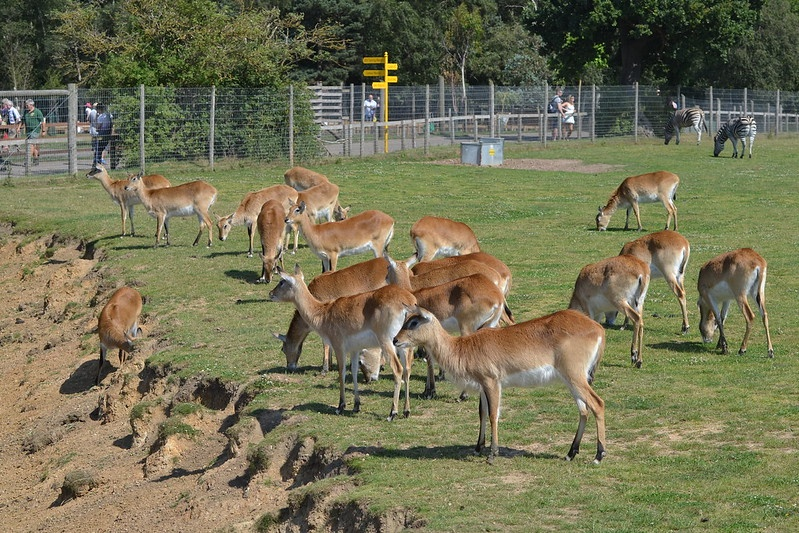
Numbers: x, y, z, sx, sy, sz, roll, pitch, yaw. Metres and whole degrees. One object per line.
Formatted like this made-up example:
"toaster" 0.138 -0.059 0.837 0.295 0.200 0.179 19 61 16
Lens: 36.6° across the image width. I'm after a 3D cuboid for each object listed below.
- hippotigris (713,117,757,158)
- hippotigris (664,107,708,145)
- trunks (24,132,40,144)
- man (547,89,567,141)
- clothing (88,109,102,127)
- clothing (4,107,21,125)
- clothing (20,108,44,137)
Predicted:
"hippotigris" 16.212 -6.218 58.609 0.931 2.013 3.399 0 1 -14
"hippotigris" 15.188 -7.378 64.354 0.887 1.878 3.281 -5 4 -31
"trunks" -13.653 -4.739 44.748 0.414 0.486 0.442 3 9 12
"man" 7.999 -7.760 62.259 0.991 3.277 1.191 -4 29 2
"clothing" -11.511 -5.587 45.404 0.480 0.921 0.250 2 20 46
"clothing" -14.727 -5.665 45.948 0.351 0.956 0.578 -10 14 -29
"clothing" -13.685 -5.304 44.922 0.964 1.226 0.698 1 -5 -4
